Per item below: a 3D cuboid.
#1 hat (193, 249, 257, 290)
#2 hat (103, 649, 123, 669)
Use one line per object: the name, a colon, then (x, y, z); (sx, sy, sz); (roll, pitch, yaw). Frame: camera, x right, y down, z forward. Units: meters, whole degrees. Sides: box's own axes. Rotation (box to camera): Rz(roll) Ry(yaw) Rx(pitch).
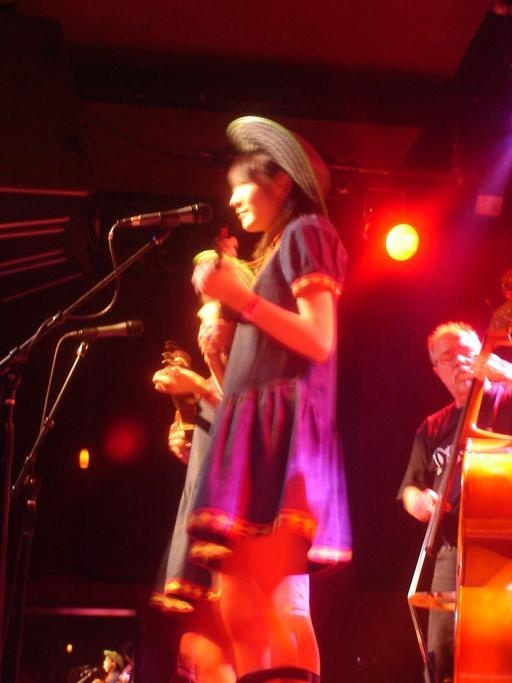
hat: (-0.070, -0.157, 1.510); (0.134, 0.072, 0.116); (30, 4, -17)
hat: (-0.731, 1.613, 3.213); (0.072, 0.106, 0.075); (-12, -47, 28)
